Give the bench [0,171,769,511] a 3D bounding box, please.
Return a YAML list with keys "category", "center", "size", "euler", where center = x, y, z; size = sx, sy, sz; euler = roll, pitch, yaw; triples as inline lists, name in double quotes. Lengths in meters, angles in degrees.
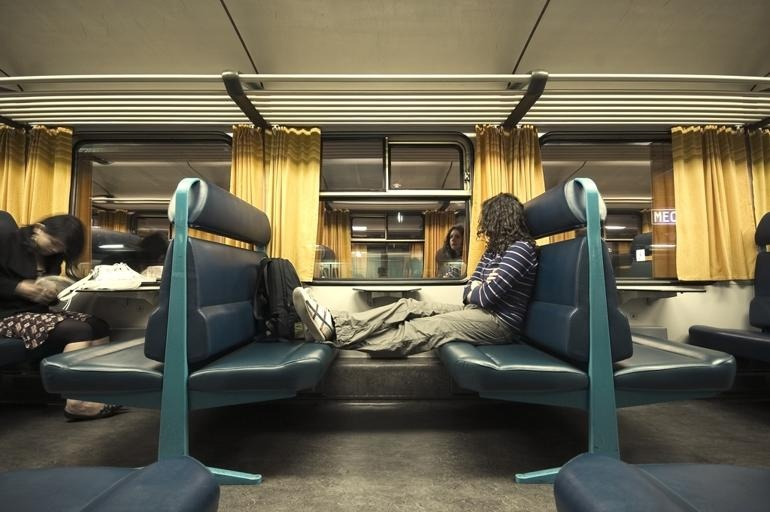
- category: "bench"
  center: [0.265, 0.596, 4.534]
  size: [4.433, 2.047, 2.291]
  euler: [-1, -4, 2]
